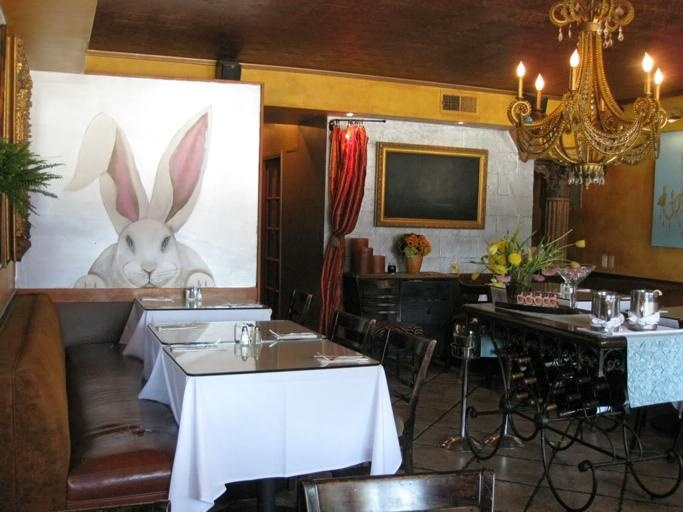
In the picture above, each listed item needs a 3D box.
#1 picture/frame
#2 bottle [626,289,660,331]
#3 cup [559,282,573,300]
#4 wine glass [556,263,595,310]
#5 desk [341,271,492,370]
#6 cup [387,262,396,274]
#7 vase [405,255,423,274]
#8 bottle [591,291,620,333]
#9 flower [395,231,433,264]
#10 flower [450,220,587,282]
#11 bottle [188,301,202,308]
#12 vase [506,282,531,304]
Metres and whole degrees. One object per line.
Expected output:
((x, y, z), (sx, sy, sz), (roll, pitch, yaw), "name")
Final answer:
((1.097, -0.921, 7.495), (1.185, 0.822, 0.053), (0, 2, -19), "picture/frame")
((1.868, 0.327, 3.567), (0.160, 0.231, 0.253), (2, 2, 28), "bottle")
((1.645, 0.261, 4.280), (0.090, 0.107, 0.091), (0, -2, 0), "cup")
((1.729, 0.225, 4.304), (0.315, 0.369, 0.318), (1, -2, -1), "wine glass")
((0.810, 0.626, 7.295), (1.247, 0.853, 0.739), (1, 6, 7), "desk")
((0.626, 0.164, 7.165), (0.101, 0.105, 0.102), (0, 3, 0), "cup")
((0.902, 0.110, 7.208), (0.209, 0.230, 0.215), (0, -4, 6), "vase")
((1.599, 0.332, 3.485), (0.168, 0.220, 0.248), (2, 2, 23), "bottle")
((0.888, -0.102, 7.185), (0.346, 0.242, 0.347), (1, -4, 33), "flower")
((1.376, 0.025, 4.366), (0.661, 0.422, 0.685), (0, 2, -10), "flower")
((-1.245, 0.416, 4.869), (0.081, 0.030, 0.059), (2, 1, 11), "bottle")
((1.268, 0.267, 4.138), (0.137, 0.120, 0.154), (1, -4, -3), "vase")
